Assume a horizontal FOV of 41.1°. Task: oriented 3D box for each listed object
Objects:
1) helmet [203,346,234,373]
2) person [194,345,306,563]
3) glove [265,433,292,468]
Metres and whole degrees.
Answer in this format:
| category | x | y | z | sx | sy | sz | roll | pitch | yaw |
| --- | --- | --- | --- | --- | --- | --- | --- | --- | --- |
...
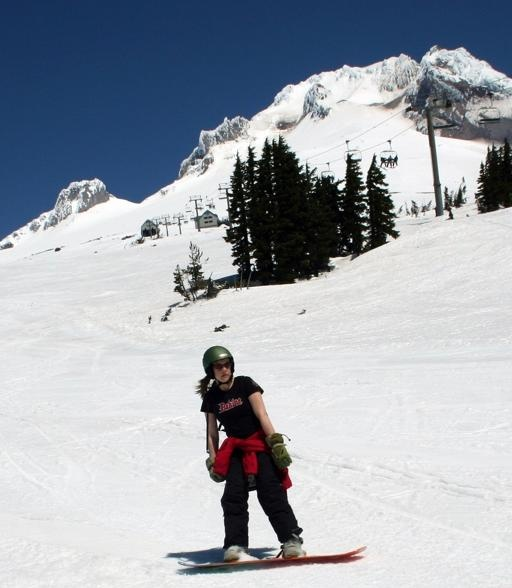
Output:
| category | x | y | z | sx | sy | sz | roll | pitch | yaw |
| --- | --- | --- | --- | --- | --- | --- | --- | --- | --- |
| helmet | -0.388 | 0.521 | 5.672 | 0.242 | 0.184 | 0.275 | -15 | 10 | -37 |
| person | -0.088 | 1.275 | 5.491 | 1.018 | 1.151 | 0.690 | -3 | 5 | 45 |
| glove | 0.179 | 1.249 | 5.465 | 0.170 | 0.308 | 0.213 | -7 | 4 | -1 |
